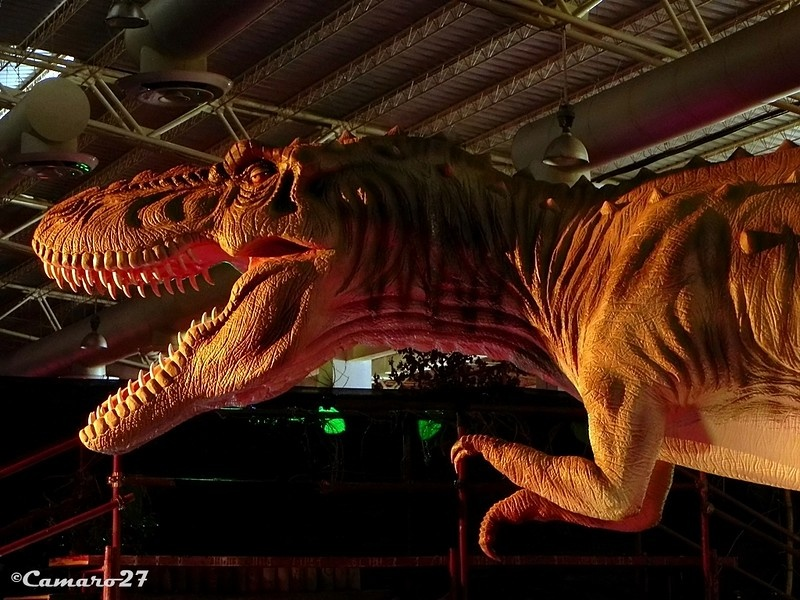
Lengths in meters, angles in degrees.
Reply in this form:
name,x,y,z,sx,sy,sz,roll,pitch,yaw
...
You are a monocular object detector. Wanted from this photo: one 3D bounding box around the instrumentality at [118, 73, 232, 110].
name,x,y,z,sx,sy,sz,roll,pitch,yaw
instrumentality,-2.595,-2.486,13.609,1.290,0.240,1.284,0,-1,40
